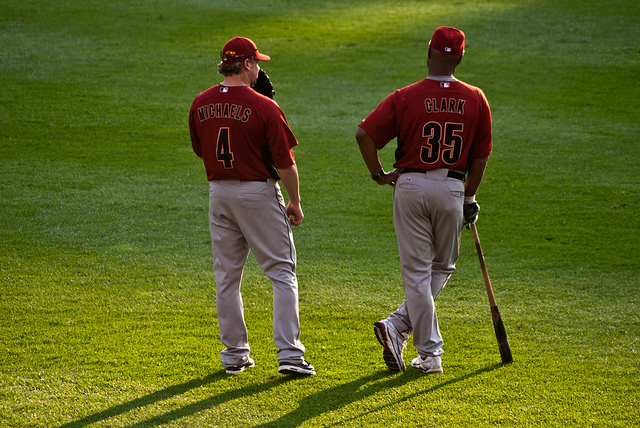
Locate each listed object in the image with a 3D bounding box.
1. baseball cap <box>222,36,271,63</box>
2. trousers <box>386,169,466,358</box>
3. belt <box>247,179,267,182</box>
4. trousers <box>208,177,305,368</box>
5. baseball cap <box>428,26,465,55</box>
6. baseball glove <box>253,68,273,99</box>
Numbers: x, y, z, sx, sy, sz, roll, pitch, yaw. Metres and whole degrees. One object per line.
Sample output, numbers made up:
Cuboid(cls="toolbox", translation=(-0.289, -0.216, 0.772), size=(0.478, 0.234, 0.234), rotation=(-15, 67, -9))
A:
Cuboid(cls="baseball cap", translation=(-0.938, -2.097, 13.877), size=(0.573, 0.253, 0.323), rotation=(-8, 19, -8))
Cuboid(cls="trousers", translation=(1.408, 0.707, 14.218), size=(1.181, 2.484, 1.069), rotation=(3, -5, -42))
Cuboid(cls="belt", translation=(-0.777, -0.413, 13.783), size=(0.220, 0.024, 0.026), rotation=(1, 12, -2))
Cuboid(cls="trousers", translation=(-0.822, 0.747, 13.852), size=(1.151, 2.390, 0.781), rotation=(0, 13, -6))
Cuboid(cls="baseball cap", translation=(1.658, -2.210, 13.979), size=(0.341, 0.218, 0.422), rotation=(21, 17, 0))
Cuboid(cls="baseball glove", translation=(-0.719, -1.666, 14.143), size=(0.286, 0.343, 0.115), rotation=(7, 22, 35))
